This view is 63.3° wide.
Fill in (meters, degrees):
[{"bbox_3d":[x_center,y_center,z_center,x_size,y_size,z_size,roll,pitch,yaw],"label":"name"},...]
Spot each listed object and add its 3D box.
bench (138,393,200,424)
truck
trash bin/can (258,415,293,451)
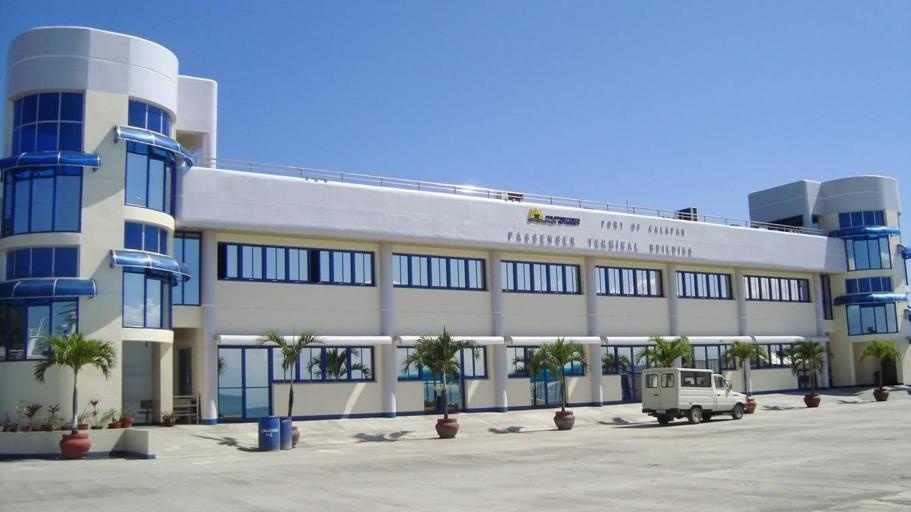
[{"bbox_3d":[-17.756,9.822,46.197,2.608,1.500,2.457,-1,-5,0],"label":"bench"},{"bbox_3d":[15.690,9.499,49.513,8.912,3.610,3.529,3,-7,-29],"label":"truck"},{"bbox_3d":[-10.428,9.913,41.860,1.862,1.820,1.968,-7,-8,35],"label":"trash bin/can"}]
